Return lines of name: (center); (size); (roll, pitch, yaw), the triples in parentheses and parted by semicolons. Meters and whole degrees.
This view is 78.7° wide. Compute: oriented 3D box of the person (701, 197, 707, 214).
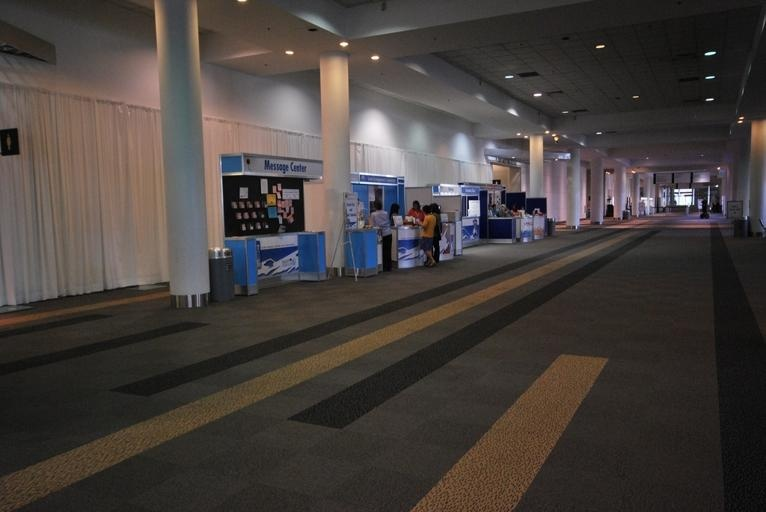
person: (26.185, -3.992, 37.925); (0.306, 1.216, 1.334); (4, 9, 36)

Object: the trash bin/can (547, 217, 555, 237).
trash bin/can: (7.941, -1.425, 22.140); (0.367, 0.769, 0.714); (1, 8, 18)

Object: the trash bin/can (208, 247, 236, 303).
trash bin/can: (-2.946, 0.304, 8.517); (0.425, 0.911, 0.251); (-4, 8, -22)

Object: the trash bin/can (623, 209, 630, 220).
trash bin/can: (19.968, -3.406, 38.215); (0.888, 0.857, 0.457); (-5, 9, -34)

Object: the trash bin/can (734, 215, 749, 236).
trash bin/can: (14.023, -1.155, 18.225); (0.518, 0.660, 1.071); (5, 10, 39)
